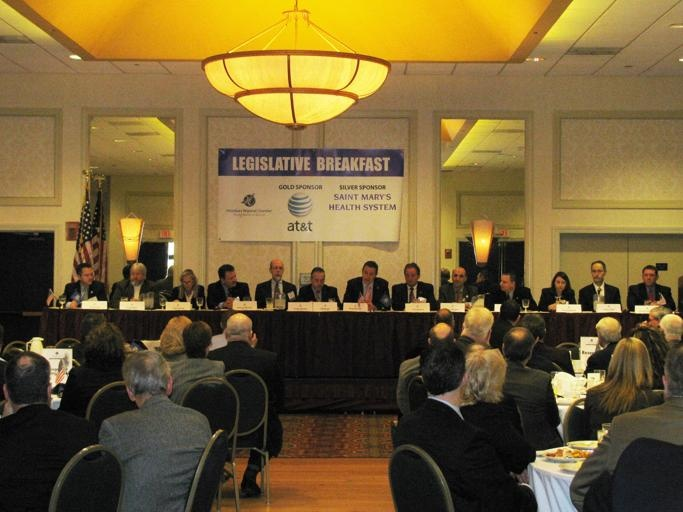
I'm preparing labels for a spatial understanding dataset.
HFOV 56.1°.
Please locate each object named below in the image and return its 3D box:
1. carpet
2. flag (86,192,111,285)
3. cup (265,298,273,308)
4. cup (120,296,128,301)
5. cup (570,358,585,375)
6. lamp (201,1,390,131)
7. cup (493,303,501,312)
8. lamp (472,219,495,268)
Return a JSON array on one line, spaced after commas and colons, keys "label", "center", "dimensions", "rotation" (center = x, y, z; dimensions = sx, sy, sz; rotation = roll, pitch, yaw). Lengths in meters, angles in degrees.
[{"label": "carpet", "center": [-0.153, 1.908, 7.038], "dimensions": [1.516, 0.010, 1.789], "rotation": [3, -35, -12]}, {"label": "flag", "center": [-3.884, -0.361, 10.181], "dimensions": [0.373, 1.751, 0.375], "rotation": [10, 20, -2]}, {"label": "cup", "center": [-0.897, 0.595, 8.010], "dimensions": [0.092, 0.112, 0.097], "rotation": [0, -6, 0]}, {"label": "cup", "center": [-2.780, 0.541, 8.160], "dimensions": [0.092, 0.063, 0.098], "rotation": [-1, -1, 0]}, {"label": "cup", "center": [2.130, 0.993, 5.737], "dimensions": [0.130, 0.140, 0.135], "rotation": [-1, 1, 0]}, {"label": "lamp", "center": [-0.522, -2.333, 7.521], "dimensions": [1.894, 1.440, 1.950], "rotation": [-1, -1, 43]}, {"label": "cup", "center": [1.975, 0.653, 8.138], "dimensions": [0.109, 0.158, 0.158], "rotation": [-1, 0, 28]}, {"label": "lamp", "center": [2.392, -0.226, 10.751], "dimensions": [0.449, 0.708, 0.415], "rotation": [-10, 10, -24]}]
